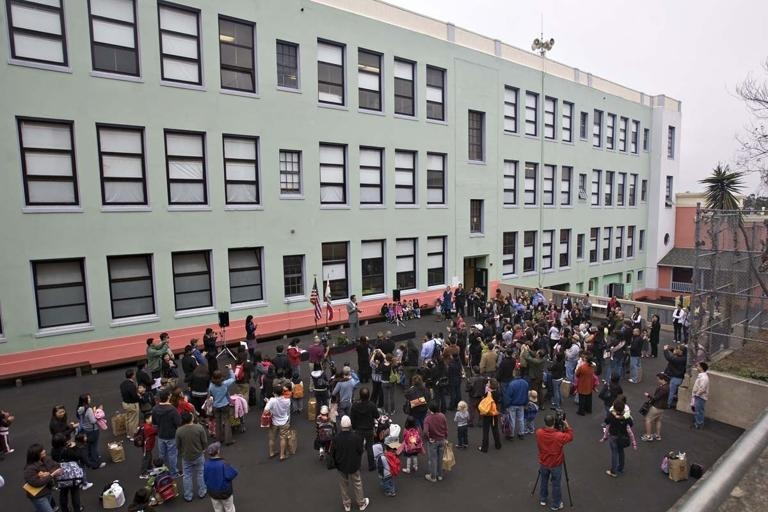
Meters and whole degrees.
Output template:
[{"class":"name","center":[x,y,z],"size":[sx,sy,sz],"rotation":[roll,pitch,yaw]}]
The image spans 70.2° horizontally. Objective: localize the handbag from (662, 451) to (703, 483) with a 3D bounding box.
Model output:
[{"class":"handbag","center":[10.795,7.578,19.778],"size":[1.489,1.476,0.896],"rotation":[2,1,-44]}]

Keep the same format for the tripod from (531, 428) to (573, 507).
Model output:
[{"class":"tripod","center":[5.706,7.095,18.536],"size":[1.021,2.911,0.949],"rotation":[-6,7,-39]}]

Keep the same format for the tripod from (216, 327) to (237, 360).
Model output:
[{"class":"tripod","center":[-8.070,4.496,27.792],"size":[0.993,1.148,0.823],"rotation":[16,28,32]}]

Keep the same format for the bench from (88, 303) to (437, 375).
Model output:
[{"class":"bench","center":[-6.500,4.023,26.176],"size":[17.054,2.760,1.742],"rotation":[-1,-2,-32]}]
